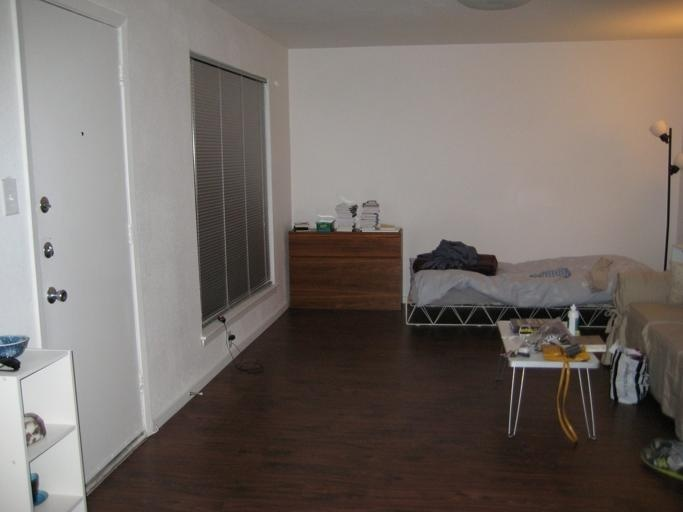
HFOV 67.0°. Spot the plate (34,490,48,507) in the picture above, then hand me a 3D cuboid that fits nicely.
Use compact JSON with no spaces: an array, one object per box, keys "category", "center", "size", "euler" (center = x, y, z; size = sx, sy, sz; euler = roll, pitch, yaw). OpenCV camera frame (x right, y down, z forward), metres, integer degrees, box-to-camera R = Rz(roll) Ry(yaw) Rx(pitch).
[{"category":"plate","center":[-1.420,1.140,2.442],"size":[0.051,0.007,0.050],"euler":[5,2,-45]}]

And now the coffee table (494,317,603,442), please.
[{"category":"coffee table","center":[1.502,0.813,3.725],"size":[0.747,0.680,1.101],"euler":[3,13,17]}]

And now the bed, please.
[{"category":"bed","center":[1.740,0.369,5.376],"size":[1.604,0.409,1.167],"euler":[0,10,5]}]
